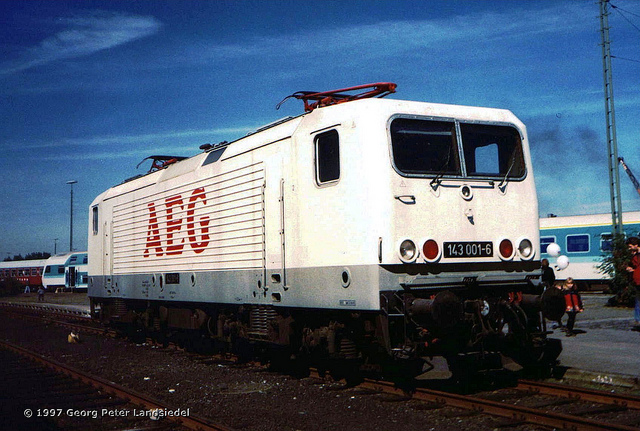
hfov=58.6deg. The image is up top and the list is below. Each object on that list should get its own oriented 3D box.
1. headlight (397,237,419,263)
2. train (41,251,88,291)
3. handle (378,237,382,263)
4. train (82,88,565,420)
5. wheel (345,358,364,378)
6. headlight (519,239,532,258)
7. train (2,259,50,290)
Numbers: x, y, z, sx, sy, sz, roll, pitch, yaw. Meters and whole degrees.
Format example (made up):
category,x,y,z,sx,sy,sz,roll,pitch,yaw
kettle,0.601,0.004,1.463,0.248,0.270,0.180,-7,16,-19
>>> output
category,x,y,z,sx,sy,sz,roll,pitch,yaw
headlight,1.430,0.558,9.602,0.367,0.412,0.390,16,-8,-29
train,-23.581,5.185,52.928,2.384,3.561,13.035,7,-8,-30
handle,0.999,0.567,9.529,0.062,0.419,0.021,2,-7,12
train,-2.618,1.087,16.084,4.991,6.336,17.073,2,-2,-31
wheel,0.672,2.910,10.897,0.377,0.456,0.937,3,-7,3
headlight,3.731,0.592,10.242,0.242,0.307,0.294,1,-2,-15
train,-32.351,6.219,62.525,3.453,3.730,12.692,3,-10,-40
